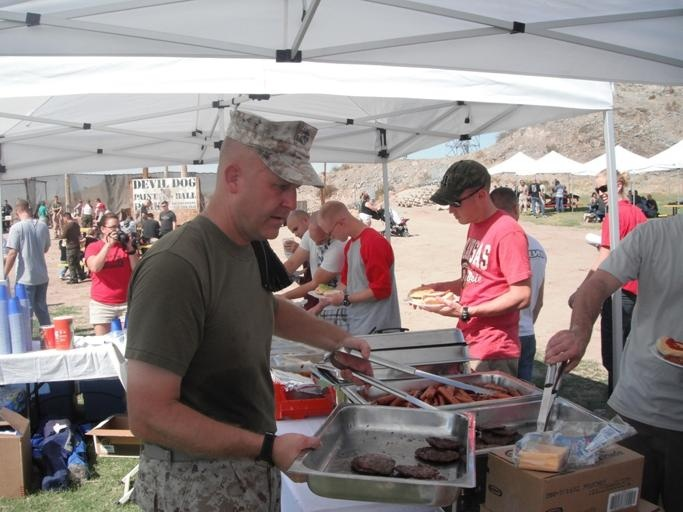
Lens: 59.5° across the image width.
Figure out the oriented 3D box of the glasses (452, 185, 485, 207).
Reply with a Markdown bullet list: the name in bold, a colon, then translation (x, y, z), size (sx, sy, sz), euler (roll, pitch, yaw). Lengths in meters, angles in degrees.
- **glasses**: translation (0.833, -0.382, 3.967), size (0.144, 0.042, 0.140), euler (-37, 11, -25)

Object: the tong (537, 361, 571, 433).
- **tong**: translation (0.940, 0.653, 2.731), size (0.069, 0.169, 0.436), euler (8, 45, 31)

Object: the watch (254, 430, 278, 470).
- **watch**: translation (-0.278, 0.714, 2.218), size (0.078, 0.110, 0.106), euler (23, -22, -13)

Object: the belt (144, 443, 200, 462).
- **belt**: translation (-0.696, 0.783, 2.382), size (0.135, 0.028, 0.131), euler (6, -12, 17)

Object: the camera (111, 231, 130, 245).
- **camera**: translation (-2.443, -0.209, 6.572), size (0.194, 0.110, 0.138), euler (1, 5, -33)

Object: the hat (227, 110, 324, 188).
- **hat**: translation (-0.263, -0.415, 2.333), size (0.368, 0.294, 0.158), euler (-2, 3, -11)

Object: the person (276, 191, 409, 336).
- **person**: translation (0.048, 0.077, 5.235), size (0.891, 1.190, 0.940), euler (-3, 13, -27)

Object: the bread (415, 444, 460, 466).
- **bread**: translation (0.404, 0.834, 2.517), size (0.181, 0.044, 0.098), euler (-1, 2, 8)

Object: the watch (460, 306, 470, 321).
- **watch**: translation (0.803, 0.378, 3.887), size (0.064, 0.086, 0.086), euler (2, 1, 13)
